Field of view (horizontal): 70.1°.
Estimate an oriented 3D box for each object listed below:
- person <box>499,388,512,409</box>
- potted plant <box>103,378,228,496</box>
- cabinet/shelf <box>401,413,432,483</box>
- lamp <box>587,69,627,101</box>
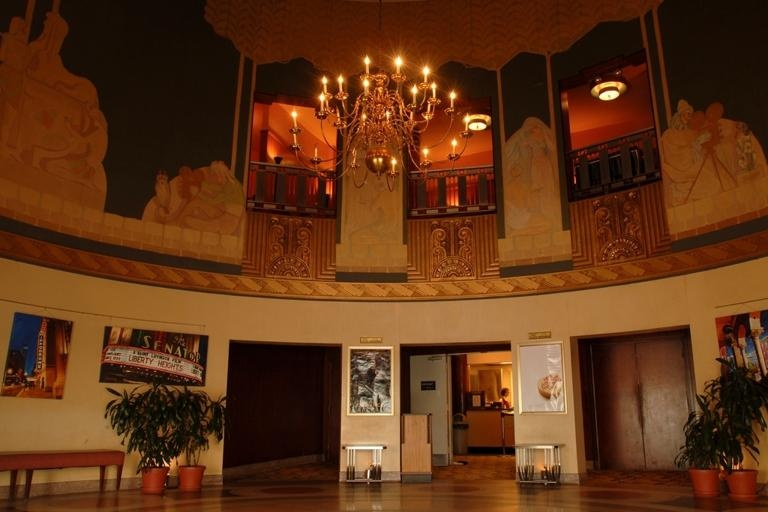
[{"bbox_3d":[3.877,4.507,17.440,0.343,0.742,1.427,-6,-18,11],"label":"person"},{"bbox_3d":[-4.378,3.571,10.909,2.234,2.079,0.896,7,-19,-28],"label":"potted plant"},{"bbox_3d":[0.692,4.169,11.932,0.690,1.390,0.360,-3,-17,2],"label":"cabinet/shelf"},{"bbox_3d":[5.156,-3.905,12.566,0.802,0.405,0.694,-6,-18,11],"label":"lamp"}]
